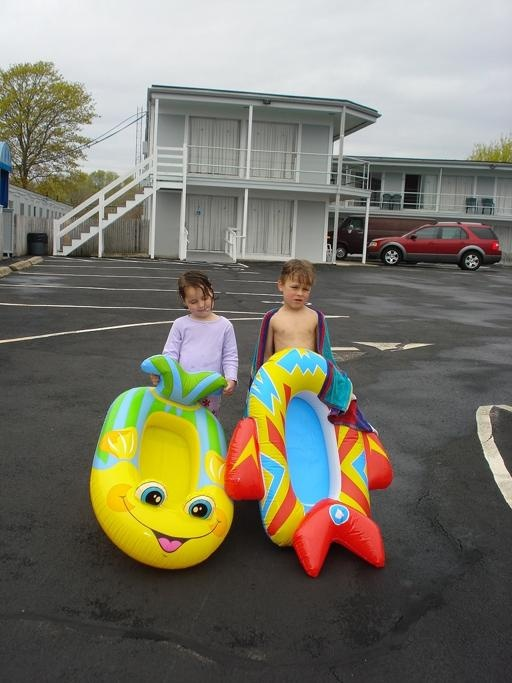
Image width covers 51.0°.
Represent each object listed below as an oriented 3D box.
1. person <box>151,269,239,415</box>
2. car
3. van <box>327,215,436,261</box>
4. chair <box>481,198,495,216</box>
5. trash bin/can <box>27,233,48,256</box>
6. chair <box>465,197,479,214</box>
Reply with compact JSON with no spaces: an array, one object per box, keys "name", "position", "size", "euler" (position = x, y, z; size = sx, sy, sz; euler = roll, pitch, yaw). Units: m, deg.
[{"name":"person","position":[-0.288,0.037,2.780],"size":[0.393,0.781,0.468],"euler":[1,10,-9]},{"name":"car","position":[8.867,-4.704,26.339],"size":[5.717,2.163,2.662],"euler":[6,12,7]},{"name":"van","position":[8.115,-5.971,32.814],"size":[2.647,2.974,8.020],"euler":[9,8,-29]},{"name":"chair","position":[15.526,-9.036,35.845],"size":[0.858,1.125,0.710],"euler":[4,10,8]},{"name":"trash bin/can","position":[-9.221,-4.107,22.895],"size":[0.990,1.029,0.957],"euler":[7,12,31]},{"name":"chair","position":[14.464,-9.110,35.936],"size":[0.849,1.068,0.850],"euler":[6,10,19]}]
